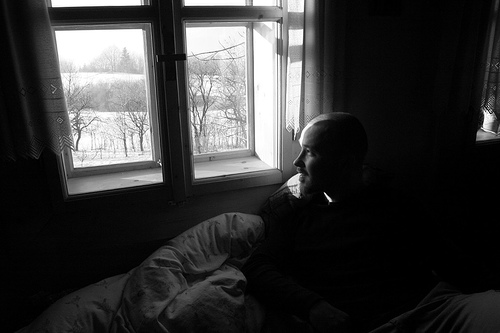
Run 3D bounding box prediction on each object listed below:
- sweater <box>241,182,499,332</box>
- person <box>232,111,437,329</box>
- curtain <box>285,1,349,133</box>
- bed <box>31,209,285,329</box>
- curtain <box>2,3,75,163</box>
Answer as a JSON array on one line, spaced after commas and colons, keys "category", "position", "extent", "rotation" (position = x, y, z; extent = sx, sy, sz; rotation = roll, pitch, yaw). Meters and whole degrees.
[{"category": "sweater", "position": [0.398, 0.317, 1.334], "extent": [0.557, 0.237, 0.679], "rotation": [-36, 31, -15]}, {"category": "person", "position": [0.302, 0.202, 1.401], "extent": [0.671, 0.786, 0.404], "rotation": [1, 18, 7]}, {"category": "curtain", "position": [0.331, -0.482, 1.843], "extent": [0.332, 0.630, 0.173], "rotation": [8, 20, 28]}, {"category": "bed", "position": [-0.341, 0.507, 1.537], "extent": [0.836, 0.189, 0.487], "rotation": [-18, 54, -22]}, {"category": "curtain", "position": [-0.965, -0.355, 1.603], "extent": [0.282, 0.644, 0.110], "rotation": [-12, 20, -29]}]
